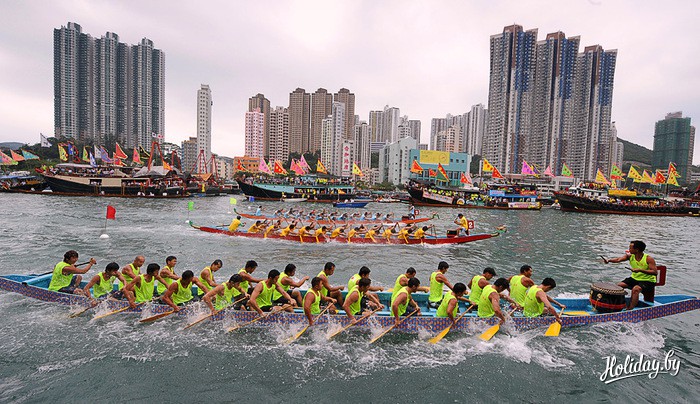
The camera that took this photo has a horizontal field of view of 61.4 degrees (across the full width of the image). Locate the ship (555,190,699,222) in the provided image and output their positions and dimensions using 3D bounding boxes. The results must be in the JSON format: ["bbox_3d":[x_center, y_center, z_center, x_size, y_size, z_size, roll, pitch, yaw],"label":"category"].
[{"bbox_3d":[64.774,0.755,127.787,37.883,6.407,8.909,4,-7,1],"label":"ship"}]

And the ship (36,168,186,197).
[{"bbox_3d":[-52.978,-3.987,128.452,20.307,4.094,5.160,4,-6,-13],"label":"ship"}]

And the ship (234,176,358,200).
[{"bbox_3d":[-12.157,-3.030,135.344,25.016,4.238,5.910,3,-3,-15],"label":"ship"}]

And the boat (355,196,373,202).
[{"bbox_3d":[3.101,-0.616,135.949,4.641,1.236,1.091,5,19,11],"label":"boat"}]

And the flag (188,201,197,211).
[{"bbox_3d":[-29.219,0.879,109.212,0.175,2.145,2.172,8,4,30],"label":"flag"}]

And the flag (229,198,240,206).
[{"bbox_3d":[-23.349,-0.003,119.080,1.853,1.236,1.908,-3,-1,33],"label":"flag"}]

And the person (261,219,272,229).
[{"bbox_3d":[-14.188,3.730,99.755,1.329,0.753,1.773,3,-1,-25],"label":"person"}]

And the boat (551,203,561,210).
[{"bbox_3d":[48.721,1.102,139.640,1.881,0.594,2.515,4,19,27],"label":"boat"}]

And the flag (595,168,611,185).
[{"bbox_3d":[66.368,-6.670,155.122,5.618,1.816,6.241,26,6,30],"label":"flag"}]
